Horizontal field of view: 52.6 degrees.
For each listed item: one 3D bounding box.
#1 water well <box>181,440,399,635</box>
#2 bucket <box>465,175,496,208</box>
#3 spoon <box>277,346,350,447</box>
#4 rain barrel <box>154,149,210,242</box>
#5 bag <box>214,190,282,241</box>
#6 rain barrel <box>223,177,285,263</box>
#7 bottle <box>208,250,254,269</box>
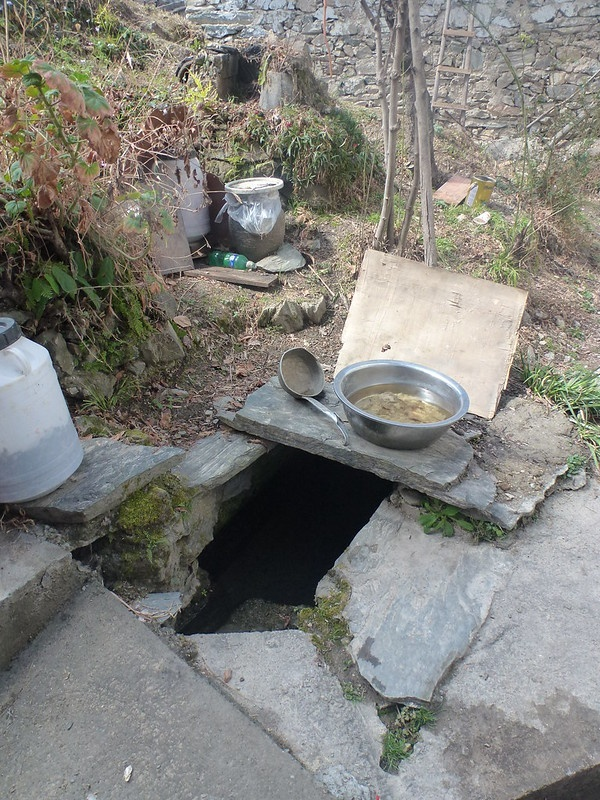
[{"bbox_3d":[-0.051,0.757,3.362,0.617,0.033,1.568,23,38,20],"label":"water well"},{"bbox_3d":[1.759,-2.027,5.937,0.243,0.249,0.504,6,28,12],"label":"bucket"},{"bbox_3d":[0.038,-0.078,3.347,0.266,0.186,0.612,8,56,-44],"label":"spoon"},{"bbox_3d":[-0.834,-1.397,4.366,0.342,0.739,1.186,-4,28,-7],"label":"rain barrel"},{"bbox_3d":[-0.402,-1.469,4.811,0.391,0.268,0.382,-34,47,-30],"label":"bag"},{"bbox_3d":[-0.366,-1.441,4.964,0.526,0.653,0.534,-3,32,2],"label":"rain barrel"},{"bbox_3d":[-0.550,-1.087,4.749,0.371,0.107,0.206,16,32,28],"label":"bottle"}]
